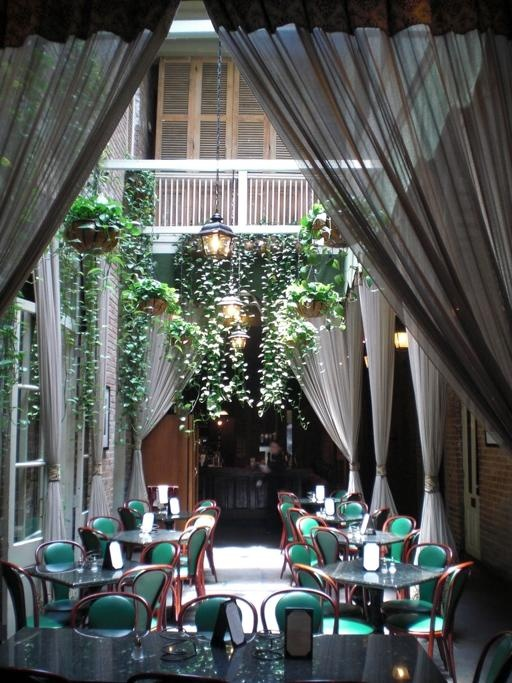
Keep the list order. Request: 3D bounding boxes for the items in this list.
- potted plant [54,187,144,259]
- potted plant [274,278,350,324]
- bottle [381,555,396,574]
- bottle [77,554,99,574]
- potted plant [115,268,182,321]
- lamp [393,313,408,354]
[{"bbox_3d":[-0.961,-0.716,3.811,0.383,0.260,0.392,0,-3,33],"label":"potted plant"},{"bbox_3d":[0.520,-0.380,5.664,0.552,0.325,0.566,1,-8,-7],"label":"potted plant"},{"bbox_3d":[0.854,1.439,3.886,0.120,0.095,0.078,-4,-17,41],"label":"bottle"},{"bbox_3d":[-1.091,1.452,3.903,0.123,0.124,0.075,2,-18,10],"label":"bottle"},{"bbox_3d":[-1.033,-0.409,5.963,0.478,0.315,0.512,2,-12,-15],"label":"potted plant"},{"bbox_3d":[2.161,-0.081,9.008,0.157,0.454,0.581,1,-3,15],"label":"lamp"}]
